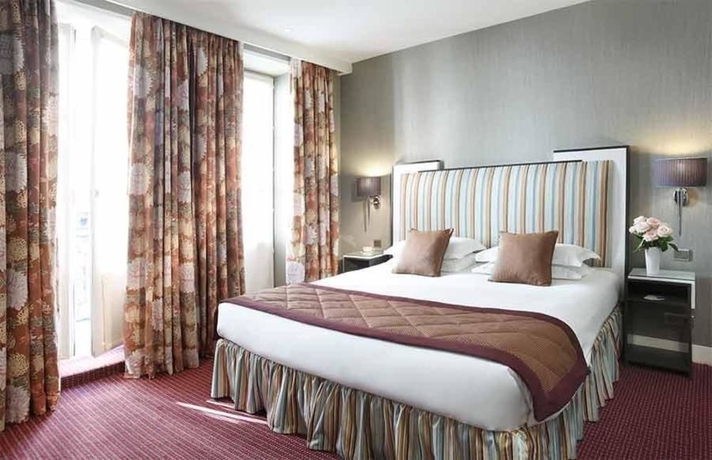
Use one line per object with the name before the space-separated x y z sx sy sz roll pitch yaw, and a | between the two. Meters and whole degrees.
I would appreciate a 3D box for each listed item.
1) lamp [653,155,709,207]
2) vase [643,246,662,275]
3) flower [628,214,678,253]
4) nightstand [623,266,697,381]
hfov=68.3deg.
lamp | 3.085 -0.434 5.099 0.484 0.572 0.461 0 0 -28
vase | 2.915 0.320 5.239 0.221 0.372 0.226 2 -2 30
flower | 2.938 0.050 5.212 0.433 0.370 0.357 4 8 33
nightstand | 2.996 0.892 5.208 0.603 0.952 0.427 4 8 32
